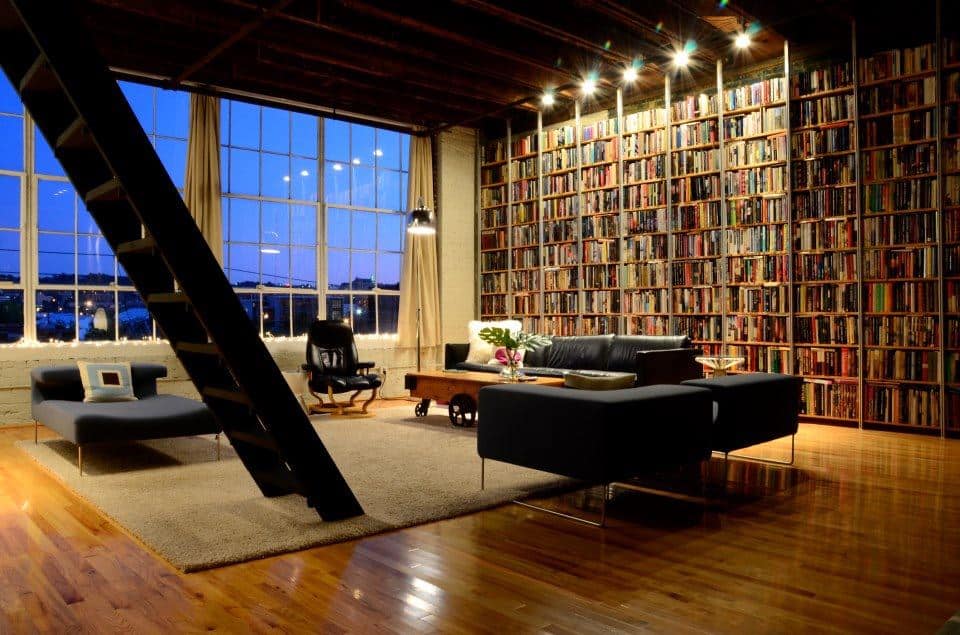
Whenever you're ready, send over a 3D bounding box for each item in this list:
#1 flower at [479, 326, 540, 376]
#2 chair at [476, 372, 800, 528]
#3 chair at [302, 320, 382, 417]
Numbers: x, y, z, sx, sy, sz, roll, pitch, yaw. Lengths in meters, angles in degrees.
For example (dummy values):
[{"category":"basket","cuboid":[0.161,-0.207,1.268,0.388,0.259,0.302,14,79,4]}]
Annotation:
[{"category":"flower","cuboid":[0.242,0.319,7.346,0.566,0.304,0.633,1,0,41]},{"category":"chair","cuboid":[1.177,0.846,5.157,2.146,0.866,0.903,-5,11,-30]},{"category":"chair","cuboid":[-1.688,0.566,8.390,1.040,1.282,1.126,3,-9,-35]}]
